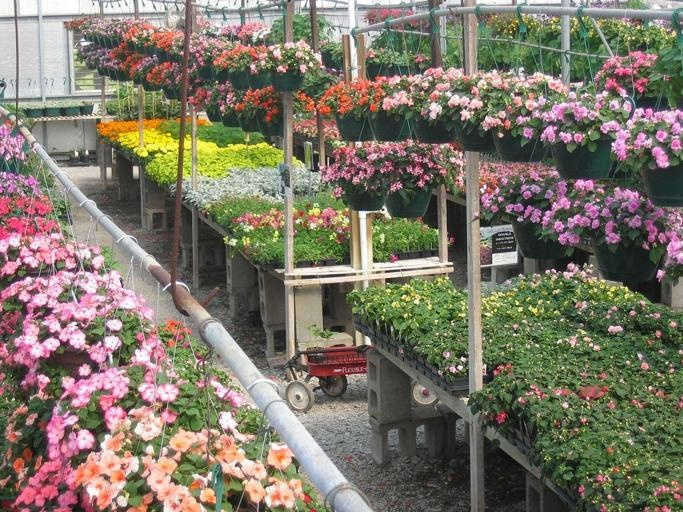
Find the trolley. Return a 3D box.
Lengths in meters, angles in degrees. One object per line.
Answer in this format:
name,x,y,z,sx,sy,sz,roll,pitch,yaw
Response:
trolley,0.079,0.991,6.207,1.094,0.523,0.650,0,2,-9
